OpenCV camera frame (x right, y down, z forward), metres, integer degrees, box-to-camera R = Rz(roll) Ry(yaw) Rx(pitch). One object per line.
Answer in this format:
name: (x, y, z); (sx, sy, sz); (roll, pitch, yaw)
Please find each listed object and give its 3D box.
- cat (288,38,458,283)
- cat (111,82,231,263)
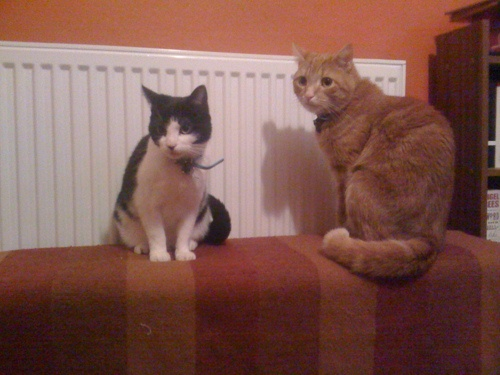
cat: (0.424, -0.128, 2.025); (0.549, 0.760, 0.471); (8, 16, 17)
cat: (-0.262, -0.041, 1.988); (0.391, 0.518, 0.440); (0, 4, -7)
